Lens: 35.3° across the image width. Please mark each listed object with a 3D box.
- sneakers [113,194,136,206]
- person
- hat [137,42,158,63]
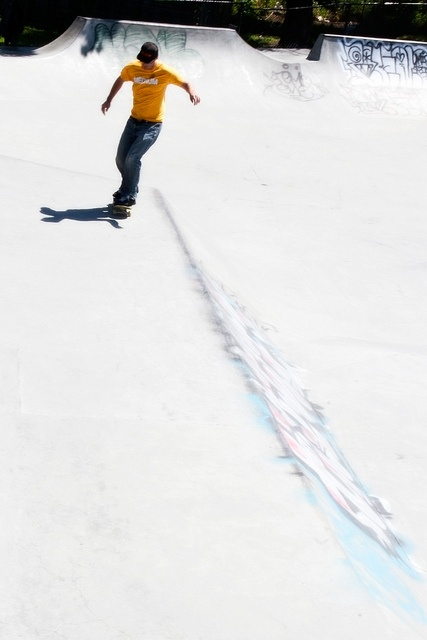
[{"bbox_3d":[-0.716,-0.975,5.435,0.170,0.064,0.074,5,1,-19],"label":"sneakers"},{"bbox_3d":[-0.523,-1.567,5.498,0.607,1.293,0.627,0,24,-24],"label":"person"},{"bbox_3d":[-0.504,-2.043,5.138,0.144,0.155,0.231,7,21,-9],"label":"hat"}]
